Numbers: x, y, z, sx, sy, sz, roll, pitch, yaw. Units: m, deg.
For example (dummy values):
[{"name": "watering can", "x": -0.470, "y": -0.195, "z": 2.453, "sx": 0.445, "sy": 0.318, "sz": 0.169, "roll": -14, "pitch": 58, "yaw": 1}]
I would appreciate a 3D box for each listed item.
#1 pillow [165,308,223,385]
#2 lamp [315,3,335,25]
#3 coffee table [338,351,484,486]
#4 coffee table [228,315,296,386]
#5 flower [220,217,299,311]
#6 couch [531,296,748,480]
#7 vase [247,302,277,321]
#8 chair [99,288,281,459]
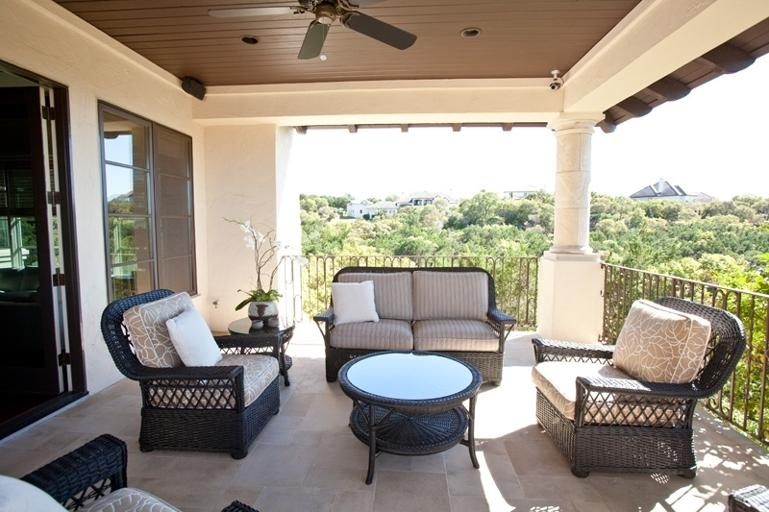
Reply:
[{"name": "pillow", "x": -1.834, "y": 0.844, "z": 5.221, "sx": 0.359, "sy": 0.585, "sz": 0.669, "roll": 2, "pitch": 11, "yaw": 3}, {"name": "lamp", "x": -0.531, "y": -2.168, "z": 4.852, "sx": 0.151, "sy": 0.102, "sz": 0.153, "roll": -12, "pitch": -36, "yaw": 12}, {"name": "coffee table", "x": 0.237, "y": 1.476, "z": 5.172, "sx": 1.368, "sy": 0.792, "sz": 1.343, "roll": 2, "pitch": 11, "yaw": 15}, {"name": "coffee table", "x": -1.358, "y": 1.088, "z": 6.108, "sx": 0.750, "sy": 0.587, "sz": 0.803, "roll": -8, "pitch": -1, "yaw": -27}, {"name": "flower", "x": -1.541, "y": 0.190, "z": 7.367, "sx": 1.073, "sy": 1.267, "sz": 0.798, "roll": 3, "pitch": -2, "yaw": -34}, {"name": "couch", "x": 2.324, "y": 1.193, "z": 5.159, "sx": 1.743, "sy": 1.359, "sz": 1.743, "roll": 2, "pitch": 9, "yaw": 20}, {"name": "vase", "x": -1.355, "y": 0.612, "z": 6.026, "sx": 0.211, "sy": 0.118, "sz": 0.216, "roll": 2, "pitch": 0, "yaw": 0}, {"name": "chair", "x": -1.796, "y": 1.123, "z": 5.443, "sx": 1.627, "sy": 1.242, "sz": 1.476, "roll": 1, "pitch": 8, "yaw": -5}]
